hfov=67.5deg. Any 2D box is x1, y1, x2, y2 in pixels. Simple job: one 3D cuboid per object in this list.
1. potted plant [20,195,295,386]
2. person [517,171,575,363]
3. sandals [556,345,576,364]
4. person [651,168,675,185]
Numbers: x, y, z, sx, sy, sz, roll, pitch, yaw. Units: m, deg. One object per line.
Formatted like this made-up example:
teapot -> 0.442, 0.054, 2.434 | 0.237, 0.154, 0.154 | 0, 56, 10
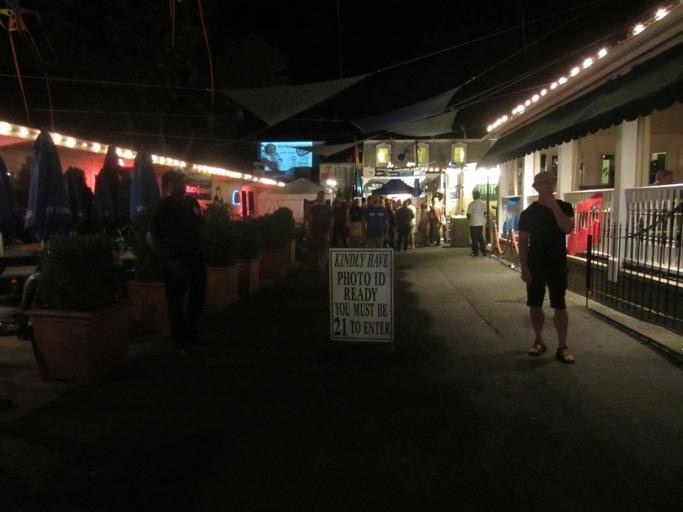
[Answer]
potted plant -> -2.833, 0.417, 8.109 | 1.074, 1.637, 3.966 | 4, 11, 26
person -> 2.767, 0.109, 6.837 | 0.527, 2.443, 0.792 | -6, 10, -34
sandals -> 2.919, 1.264, 6.638 | 0.221, 0.169, 0.221 | 2, 10, 12
person -> 6.282, -1.535, 9.955 | 0.248, 0.266, 1.679 | 5, 11, 31
